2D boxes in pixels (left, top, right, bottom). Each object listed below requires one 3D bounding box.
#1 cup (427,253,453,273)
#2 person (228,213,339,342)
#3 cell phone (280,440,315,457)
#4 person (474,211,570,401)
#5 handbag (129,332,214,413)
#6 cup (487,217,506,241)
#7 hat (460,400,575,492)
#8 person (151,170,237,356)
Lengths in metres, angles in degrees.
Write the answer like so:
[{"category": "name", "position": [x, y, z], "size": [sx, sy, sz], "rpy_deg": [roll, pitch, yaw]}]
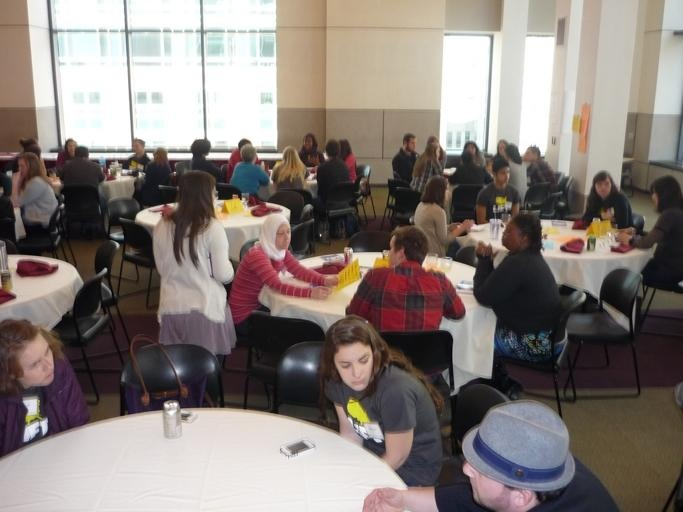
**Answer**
[{"category": "cup", "position": [0.724, 0.058, 4.209], "size": [0.130, 0.105, 0.221], "rpy_deg": [-1, 4, -5]}, {"category": "person", "position": [-0.432, 0.139, 4.028], "size": [0.808, 0.854, 0.356], "rpy_deg": [6, 16, 23]}, {"category": "cell phone", "position": [-0.194, 0.830, 2.403], "size": [0.092, 0.039, 0.060], "rpy_deg": [-12, 22, -34]}, {"category": "person", "position": [1.218, 0.334, 3.791], "size": [0.645, 1.237, 0.347], "rpy_deg": [4, 15, 15]}, {"category": "handbag", "position": [-0.918, 0.655, 3.038], "size": [0.352, 0.549, 0.234], "rpy_deg": [-3, 2, -17]}, {"category": "cup", "position": [1.465, -0.243, 5.318], "size": [0.148, 0.271, 0.247], "rpy_deg": [0, 6, 3]}, {"category": "hat", "position": [0.576, 0.616, 1.822], "size": [0.292, 0.140, 0.283], "rpy_deg": [24, 49, 33]}, {"category": "person", "position": [-0.993, 0.081, 3.742], "size": [0.518, 1.281, 0.285], "rpy_deg": [-5, 15, -16]}]
